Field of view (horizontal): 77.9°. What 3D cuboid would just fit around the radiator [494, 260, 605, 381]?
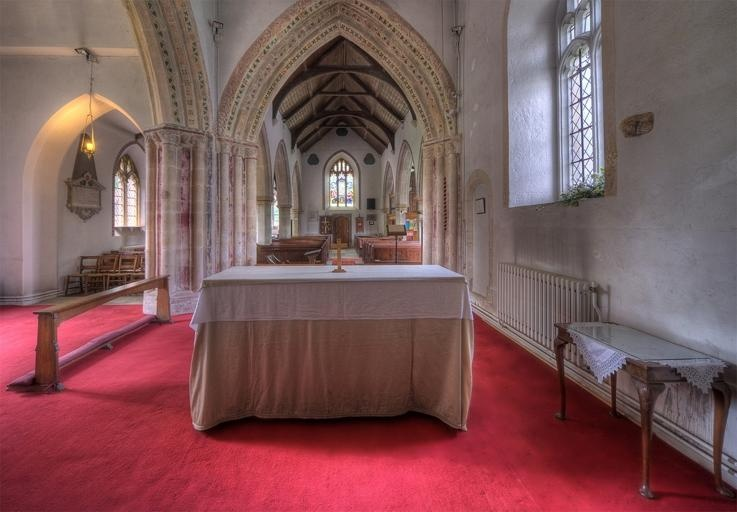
[{"bbox_3d":[2.024,0.581,5.496,0.184,0.815,1.415,12,4,-26],"label":"radiator"}]
